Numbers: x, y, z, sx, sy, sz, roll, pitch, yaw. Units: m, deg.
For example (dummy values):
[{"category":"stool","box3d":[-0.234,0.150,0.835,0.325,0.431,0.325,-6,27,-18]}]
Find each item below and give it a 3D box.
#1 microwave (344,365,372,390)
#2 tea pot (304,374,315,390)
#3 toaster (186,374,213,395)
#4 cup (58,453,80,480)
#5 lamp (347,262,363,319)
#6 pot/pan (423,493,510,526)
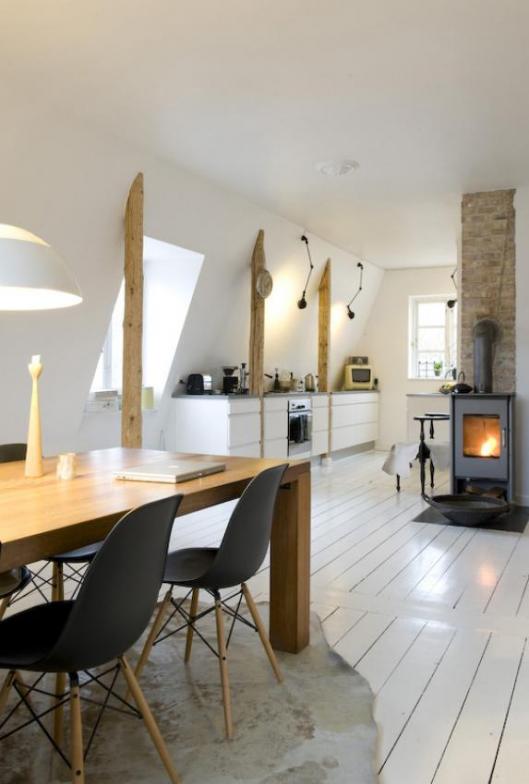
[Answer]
[{"category":"microwave","box3d":[1.364,-0.185,8.867,0.481,0.471,0.303,0,2,-17]},{"category":"tea pot","box3d":[0.579,-0.115,7.547,0.148,0.253,0.157,0,8,0]},{"category":"toaster","box3d":[-0.599,-0.070,5.540,0.252,0.199,0.281,1,0,-8]},{"category":"cup","box3d":[-0.594,0.227,1.829,0.062,0.073,0.058,1,5,0]},{"category":"lamp","box3d":[1.248,-1.369,8.250,0.225,0.618,0.644,1,0,9]},{"category":"pot/pan","box3d":[1.526,0.884,4.467,0.549,0.201,0.509,1,0,11]}]
